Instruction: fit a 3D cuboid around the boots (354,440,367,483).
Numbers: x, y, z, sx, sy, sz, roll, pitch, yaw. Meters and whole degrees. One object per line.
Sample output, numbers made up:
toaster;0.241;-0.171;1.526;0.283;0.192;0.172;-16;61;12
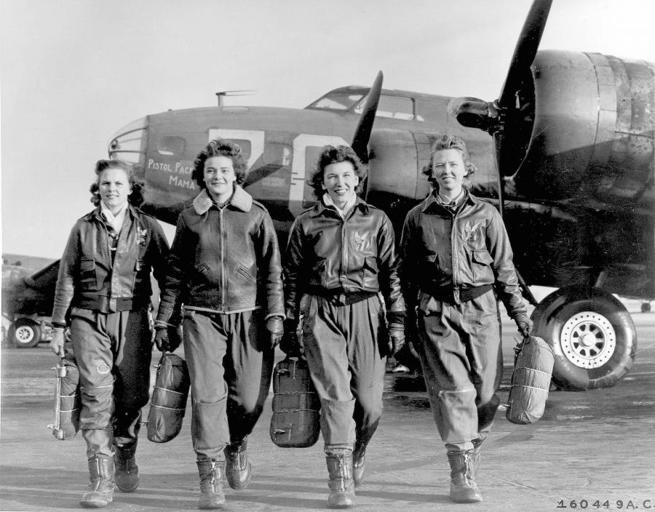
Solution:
boots;0.242;1.588;7.239;0.101;0.319;0.134;1;-10;1

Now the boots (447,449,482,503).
boots;1.001;1.603;6.841;0.202;0.361;0.229;1;-4;-6

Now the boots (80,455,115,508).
boots;-1.682;1.634;6.863;0.213;0.362;0.324;1;-4;-8

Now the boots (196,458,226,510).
boots;-0.842;1.643;6.794;0.224;0.350;0.251;2;-4;-11

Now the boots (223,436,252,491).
boots;-0.696;1.613;7.195;0.142;0.435;0.181;-4;-16;0

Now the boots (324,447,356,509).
boots;0.087;1.606;6.767;0.204;0.400;0.230;1;-4;-1
